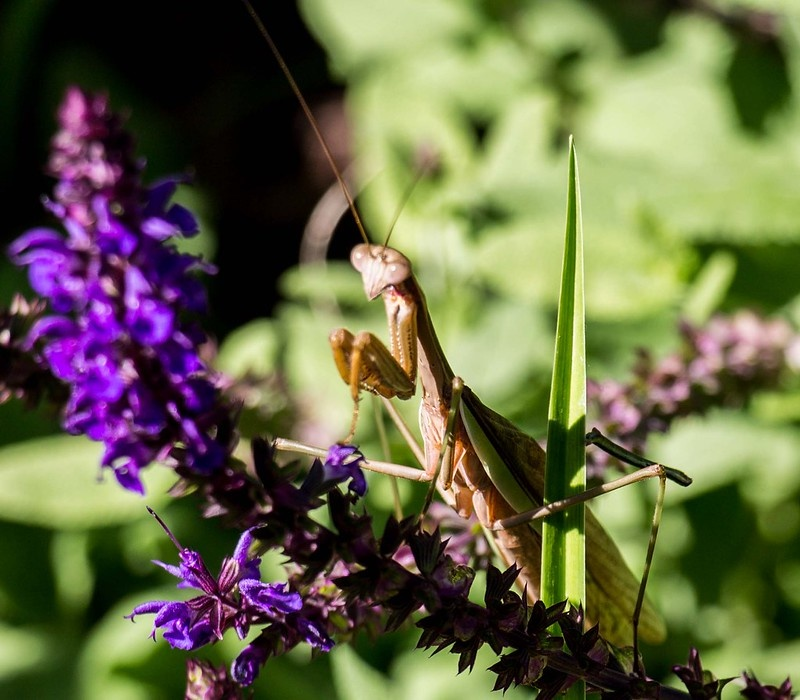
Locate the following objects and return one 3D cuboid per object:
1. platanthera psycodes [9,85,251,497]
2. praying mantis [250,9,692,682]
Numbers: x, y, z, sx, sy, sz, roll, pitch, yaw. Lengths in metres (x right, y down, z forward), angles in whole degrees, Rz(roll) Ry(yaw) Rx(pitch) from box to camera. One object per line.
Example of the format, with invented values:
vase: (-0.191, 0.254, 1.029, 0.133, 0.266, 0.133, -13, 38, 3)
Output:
platanthera psycodes: (-0.415, -0.057, 1.720, 0.224, 0.626, 0.308, 2, 2, 31)
praying mantis: (0.199, 0.146, 2.144, 0.710, 1.353, 0.630, 1, 27, 11)
